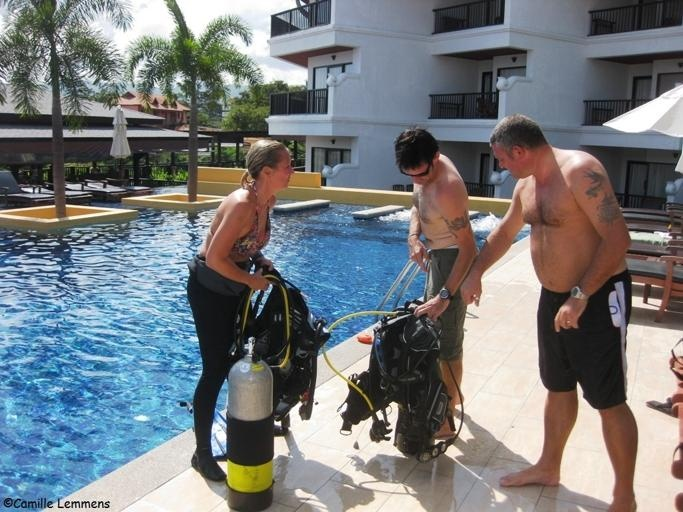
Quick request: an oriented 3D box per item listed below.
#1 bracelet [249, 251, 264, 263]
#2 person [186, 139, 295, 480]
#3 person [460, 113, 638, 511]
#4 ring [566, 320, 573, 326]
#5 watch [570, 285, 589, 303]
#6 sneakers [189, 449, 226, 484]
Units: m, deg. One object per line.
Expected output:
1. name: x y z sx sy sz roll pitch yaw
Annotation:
1. bracelet: -0.587 0.014 3.613 0.073 0.062 0.081 33 -44 -23
2. person: -0.664 0.315 3.412 0.704 2.084 0.574 -7 15 -33
3. person: 1.295 0.330 3.127 0.495 2.247 1.124 -10 18 -43
4. ring: 1.255 0.376 2.899 0.012 0.026 0.034 -9 13 -14
5. watch: 1.293 0.208 2.897 0.088 0.061 0.093 21 8 8
6. sneakers: -0.854 1.317 3.357 0.107 0.128 0.320 -1 7 -42
